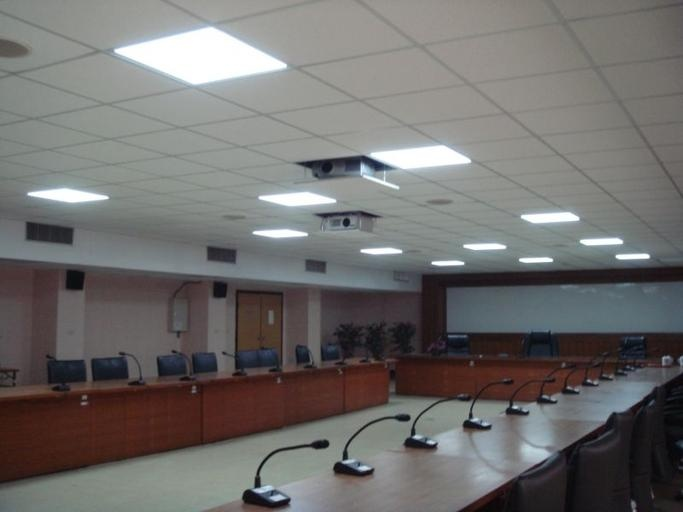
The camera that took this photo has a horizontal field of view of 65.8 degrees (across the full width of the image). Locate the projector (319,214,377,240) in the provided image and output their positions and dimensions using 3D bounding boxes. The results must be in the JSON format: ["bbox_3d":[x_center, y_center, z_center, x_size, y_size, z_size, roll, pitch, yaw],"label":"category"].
[{"bbox_3d":[0.115,-0.464,7.385,0.843,0.292,0.500,4,-1,-4],"label":"projector"}]

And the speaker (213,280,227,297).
[{"bbox_3d":[-2.869,0.760,12.433,0.122,0.336,0.371,-3,-10,29],"label":"speaker"}]
